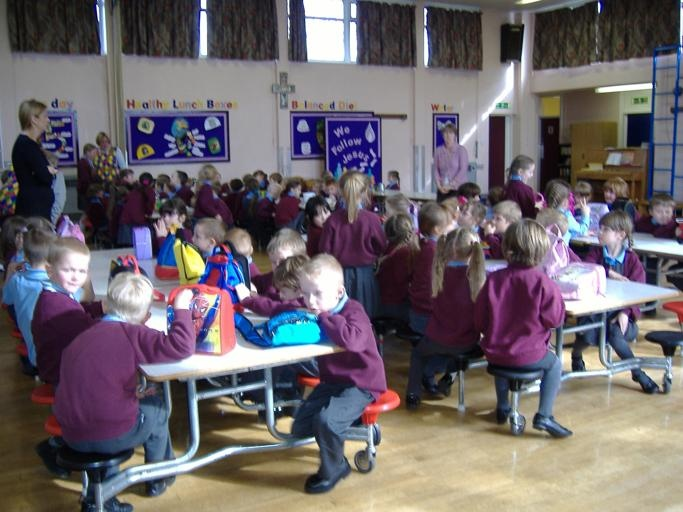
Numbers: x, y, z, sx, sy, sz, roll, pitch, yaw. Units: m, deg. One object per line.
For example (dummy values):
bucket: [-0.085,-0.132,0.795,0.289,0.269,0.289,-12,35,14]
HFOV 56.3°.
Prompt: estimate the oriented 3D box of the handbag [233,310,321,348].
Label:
handbag: [-0.327,0.385,3.345,0.276,0.132,0.235,1,-1,-2]

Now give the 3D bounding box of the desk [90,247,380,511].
desk: [-0.474,0.786,3.314,1.460,0.993,0.521,-7,10,-27]

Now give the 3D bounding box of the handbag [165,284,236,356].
handbag: [-0.692,0.319,3.233,0.258,0.336,0.110,1,9,18]

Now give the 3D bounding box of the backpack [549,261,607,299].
backpack: [1.521,0.121,4.024,0.285,0.123,0.211,-8,8,-40]

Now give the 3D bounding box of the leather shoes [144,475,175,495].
leather shoes: [-0.986,1.237,3.435,0.095,0.127,0.149,0,-9,33]

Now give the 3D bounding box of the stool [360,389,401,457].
stool: [0.238,0.898,3.533,0.265,0.352,0.288,2,4,26]

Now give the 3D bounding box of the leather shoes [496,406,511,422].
leather shoes: [1.015,0.996,4.029,0.051,0.051,0.114,0,10,15]

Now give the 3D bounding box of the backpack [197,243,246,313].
backpack: [-0.671,0.132,3.572,0.285,0.478,0.239,7,2,-1]

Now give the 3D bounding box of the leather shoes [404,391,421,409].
leather shoes: [0.471,0.952,4.230,0.091,0.086,0.197,0,-3,3]

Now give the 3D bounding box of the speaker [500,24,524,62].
speaker: [3.464,-4.345,12.971,0.461,0.742,0.259,1,9,17]

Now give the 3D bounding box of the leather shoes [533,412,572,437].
leather shoes: [1.271,1.021,3.861,0.202,0.105,0.072,26,-5,-12]

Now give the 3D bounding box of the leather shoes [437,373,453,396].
leather shoes: [0.719,0.870,4.393,0.064,0.160,0.201,5,15,17]

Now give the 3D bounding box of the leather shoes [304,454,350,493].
leather shoes: [-0.072,1.202,3.515,0.271,0.140,0.123,-8,12,-41]

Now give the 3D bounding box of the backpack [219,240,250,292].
backpack: [-0.637,0.064,3.758,0.116,0.347,0.221,-25,15,-18]
